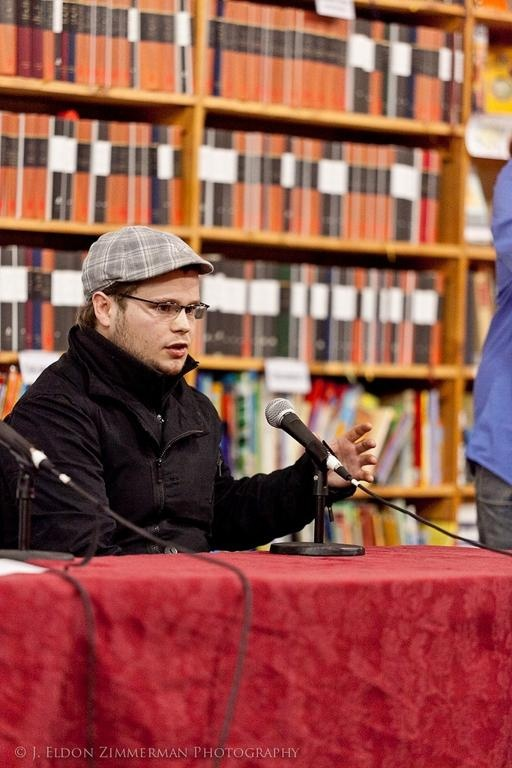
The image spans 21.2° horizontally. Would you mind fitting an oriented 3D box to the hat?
[{"bbox_3d":[-0.219,-0.206,2.367,0.259,0.120,0.183,-1,-10,-9],"label":"hat"}]
